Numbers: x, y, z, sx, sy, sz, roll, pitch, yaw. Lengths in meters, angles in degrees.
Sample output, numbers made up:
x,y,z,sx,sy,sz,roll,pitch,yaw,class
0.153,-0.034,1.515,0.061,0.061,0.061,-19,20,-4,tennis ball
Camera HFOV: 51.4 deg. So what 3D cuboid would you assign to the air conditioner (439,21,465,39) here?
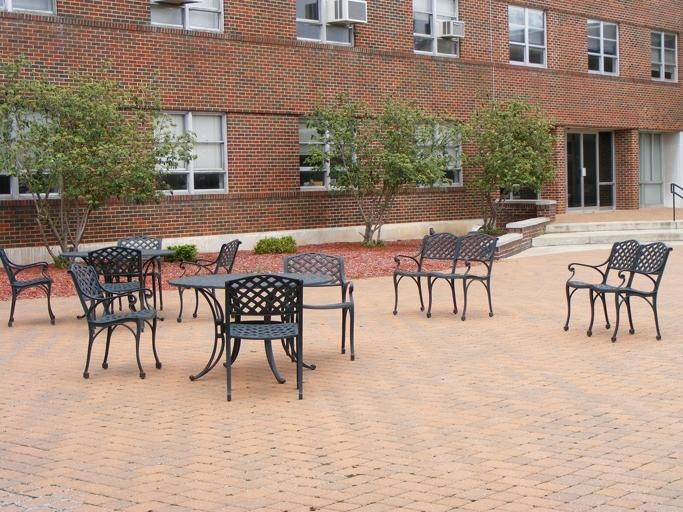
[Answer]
x,y,z,sx,sy,sz,roll,pitch,yaw,class
3.710,-7.691,23.928,1.072,0.595,0.623,-4,8,-43,air conditioner
